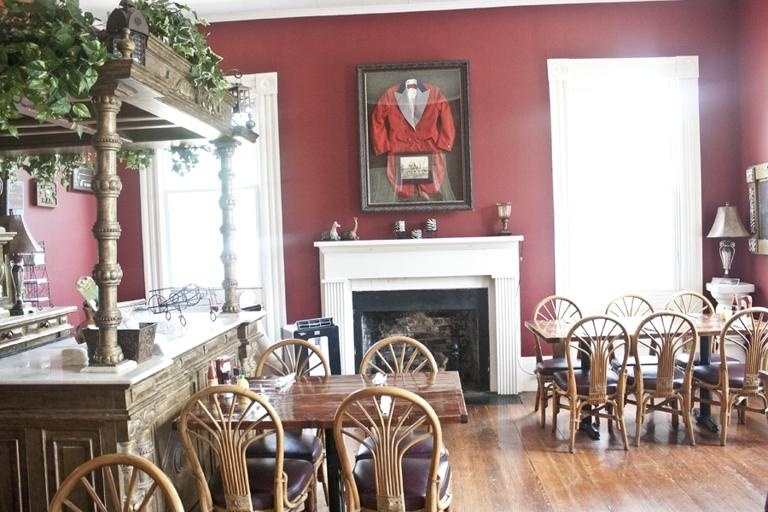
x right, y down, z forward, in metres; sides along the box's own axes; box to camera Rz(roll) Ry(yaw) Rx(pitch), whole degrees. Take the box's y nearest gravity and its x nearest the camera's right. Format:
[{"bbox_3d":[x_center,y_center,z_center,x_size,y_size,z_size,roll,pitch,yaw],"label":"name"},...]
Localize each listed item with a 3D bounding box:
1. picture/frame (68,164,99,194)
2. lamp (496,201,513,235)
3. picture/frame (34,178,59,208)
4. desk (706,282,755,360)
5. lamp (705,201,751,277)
[{"bbox_3d":[-3.761,-0.937,8.228,0.258,0.378,0.479,-5,15,-9],"label":"picture/frame"},{"bbox_3d":[1.485,-0.478,8.162,0.185,0.371,0.266,0,14,9],"label":"lamp"},{"bbox_3d":[-3.922,-0.728,7.655,0.051,0.308,0.331,-3,-3,14],"label":"picture/frame"},{"bbox_3d":[4.320,0.681,8.322,0.625,0.746,1.016,13,12,26],"label":"desk"},{"bbox_3d":[4.204,-0.178,8.109,0.579,0.889,0.393,-9,15,-23],"label":"lamp"}]
